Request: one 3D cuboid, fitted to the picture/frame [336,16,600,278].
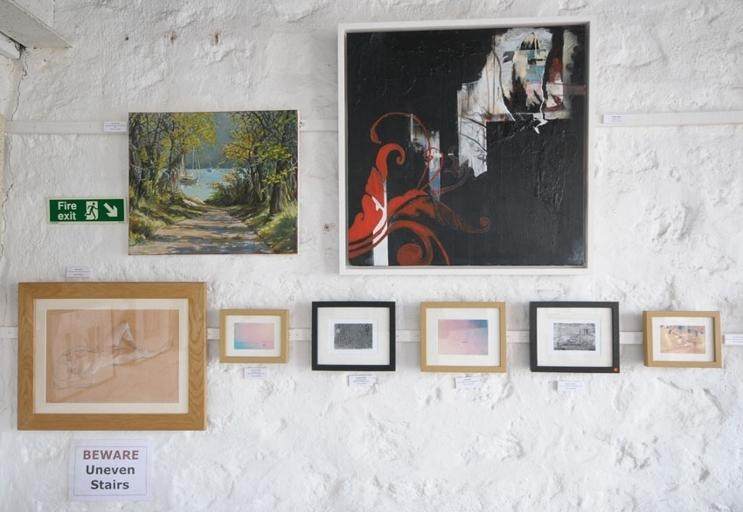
[{"bbox_3d":[0.424,-0.464,3.837,1.046,1.018,0.073,0,3,4],"label":"picture/frame"}]
